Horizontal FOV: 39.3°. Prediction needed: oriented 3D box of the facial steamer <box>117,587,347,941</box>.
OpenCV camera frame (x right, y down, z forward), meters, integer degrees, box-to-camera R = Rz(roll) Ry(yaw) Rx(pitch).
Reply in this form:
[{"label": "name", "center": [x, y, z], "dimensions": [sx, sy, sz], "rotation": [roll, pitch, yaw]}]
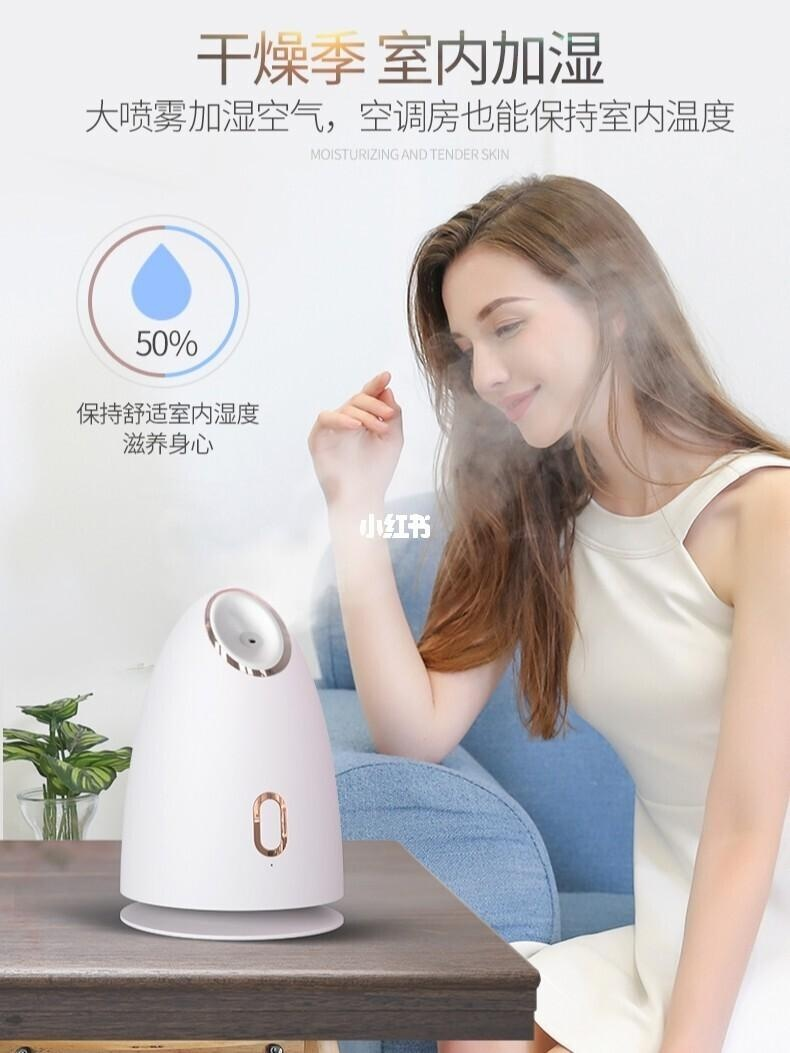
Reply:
[{"label": "facial steamer", "center": [-0.116, 0.207, 0.909], "dimensions": [0.187, 0.259, 0.192], "rotation": [-22, -22, 37]}]
